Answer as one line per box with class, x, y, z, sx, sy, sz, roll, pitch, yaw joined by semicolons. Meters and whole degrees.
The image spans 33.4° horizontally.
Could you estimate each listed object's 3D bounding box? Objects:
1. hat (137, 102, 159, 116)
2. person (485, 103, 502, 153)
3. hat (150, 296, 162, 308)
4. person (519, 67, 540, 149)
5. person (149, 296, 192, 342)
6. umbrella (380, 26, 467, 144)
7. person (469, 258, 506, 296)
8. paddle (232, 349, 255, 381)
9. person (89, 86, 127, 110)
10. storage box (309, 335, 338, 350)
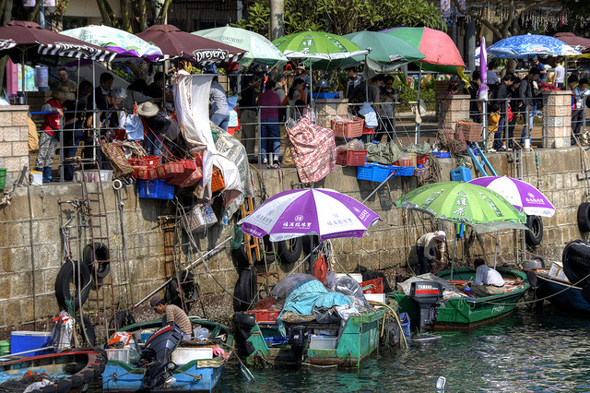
hat;-4.052;-2.378;26.857;0.584;0.418;0.342;-4;2;-8
person;6.656;-2.285;32.993;0.378;1.535;0.896;-8;35;-2
hat;-3.522;2.698;24.981;0.352;0.192;0.232;-51;14;-26
person;7.924;-3.060;33.329;0.664;2.689;1.288;-2;3;20
person;-3.173;3.315;25.205;1.047;1.548;0.719;-2;0;1
umbrella;4.197;-4.130;31.684;2.033;2.539;2.214;-2;28;-22
person;5.673;2.481;29.196;0.975;1.224;0.833;5;4;39
paddle;-1.366;4.484;25.918;0.146;0.888;0.158;-30;-4;-13
person;-5.379;-2.807;27.928;1.419;0.544;0.569;-10;10;30
storage box;0.740;3.862;25.909;0.547;0.251;0.385;0;2;3
